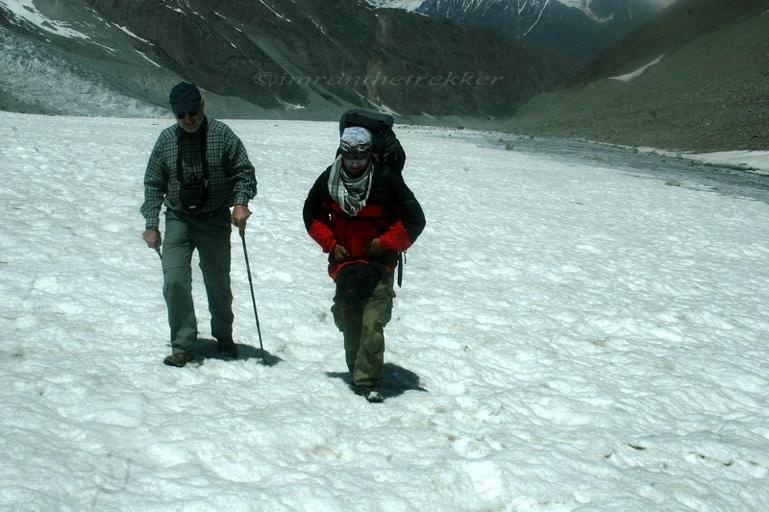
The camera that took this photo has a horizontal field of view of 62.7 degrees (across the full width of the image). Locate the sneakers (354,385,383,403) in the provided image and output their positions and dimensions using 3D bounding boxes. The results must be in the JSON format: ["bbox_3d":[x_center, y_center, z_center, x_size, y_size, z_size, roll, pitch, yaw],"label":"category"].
[{"bbox_3d":[-0.245,1.550,7.246,0.386,0.144,0.142,13,-27,49],"label":"sneakers"}]

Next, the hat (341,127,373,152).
[{"bbox_3d":[-0.316,-1.292,6.959,0.352,0.248,0.347,6,18,-4],"label":"hat"}]

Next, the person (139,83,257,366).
[{"bbox_3d":[-2.158,-0.345,7.212,1.204,3.162,1.295,3,22,-19],"label":"person"}]

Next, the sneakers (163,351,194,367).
[{"bbox_3d":[-2.331,1.157,7.117,0.316,0.157,0.149,2,20,-16],"label":"sneakers"}]

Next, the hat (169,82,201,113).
[{"bbox_3d":[-2.202,-1.790,6.946,0.428,0.260,0.487,-7,36,-5],"label":"hat"}]
